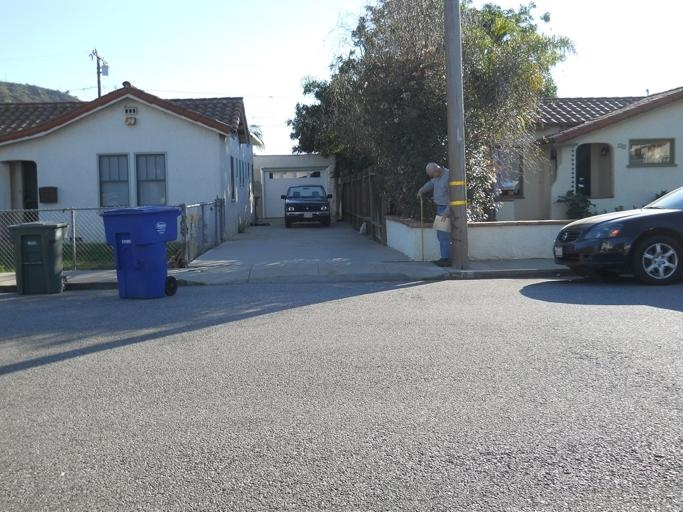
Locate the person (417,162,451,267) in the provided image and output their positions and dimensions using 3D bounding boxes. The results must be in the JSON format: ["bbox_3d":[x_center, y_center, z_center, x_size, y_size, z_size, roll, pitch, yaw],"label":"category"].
[{"bbox_3d":[2.096,-0.964,13.874,0.497,2.227,1.477,-2,5,-2],"label":"person"}]

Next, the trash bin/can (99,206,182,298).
[{"bbox_3d":[-3.397,-0.133,11.586,1.127,2.106,1.488,1,5,20],"label":"trash bin/can"}]
